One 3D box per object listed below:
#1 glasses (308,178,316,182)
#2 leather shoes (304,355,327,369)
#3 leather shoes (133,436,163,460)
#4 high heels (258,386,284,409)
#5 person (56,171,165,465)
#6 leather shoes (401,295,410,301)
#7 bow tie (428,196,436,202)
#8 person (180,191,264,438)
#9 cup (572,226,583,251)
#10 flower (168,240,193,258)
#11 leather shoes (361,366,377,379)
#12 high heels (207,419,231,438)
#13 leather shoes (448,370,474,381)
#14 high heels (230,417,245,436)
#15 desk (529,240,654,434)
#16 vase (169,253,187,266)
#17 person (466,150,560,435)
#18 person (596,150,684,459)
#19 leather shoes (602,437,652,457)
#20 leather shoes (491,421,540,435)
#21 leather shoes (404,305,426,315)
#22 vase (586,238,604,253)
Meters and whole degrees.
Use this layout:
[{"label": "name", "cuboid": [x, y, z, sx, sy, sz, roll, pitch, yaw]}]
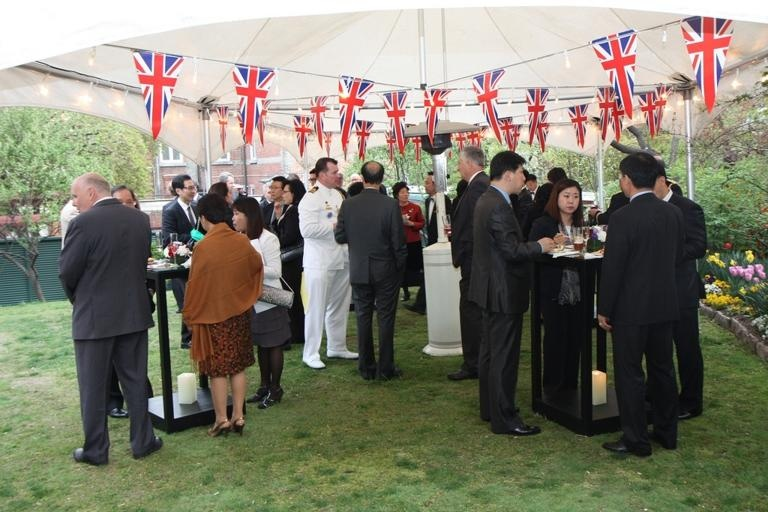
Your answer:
[{"label": "glasses", "cuboid": [-1.049, -1.150, 8.158, 0.114, 0.033, 0.108, 2, 0, -44]}, {"label": "leather shoes", "cuboid": [-0.868, 1.336, 6.888, 0.313, 0.124, 0.118, -2, 2, 44]}, {"label": "leather shoes", "cuboid": [-2.094, 1.734, 4.923, 0.094, 0.117, 0.262, 9, 18, 18]}, {"label": "high heels", "cuboid": [-1.189, 1.509, 5.856, 0.143, 0.125, 0.295, 1, 7, 39]}, {"label": "person", "cuboid": [-2.456, 0.554, 4.956, 0.766, 2.452, 0.706, -2, 4, -25]}, {"label": "leather shoes", "cuboid": [0.406, 0.795, 10.191, 0.198, 0.130, 0.068, 6, -4, 1]}, {"label": "bow tie", "cuboid": [0.859, -1.036, 9.707, 0.121, 0.061, 0.160, -1, 13, -1]}, {"label": "person", "cuboid": [-1.473, 0.559, 5.123, 0.742, 2.262, 0.361, -7, 13, -20]}, {"label": "cup", "cuboid": [1.732, -0.147, 4.894, 0.096, 0.207, 0.074, 2, 13, 22]}, {"label": "flower", "cuboid": [-1.971, -0.070, 5.306, 0.180, 0.099, 0.203, 1, 1, -14]}, {"label": "leather shoes", "cuboid": [-0.185, 1.373, 6.408, 0.231, 0.212, 0.125, 0, -2, -2]}, {"label": "high heels", "cuboid": [-1.543, 1.632, 5.191, 0.278, 0.142, 0.106, 0, -1, 37]}, {"label": "leather shoes", "cuboid": [0.889, 1.371, 6.338, 0.324, 0.122, 0.117, 3, -7, -3]}, {"label": "high heels", "cuboid": [-1.383, 1.620, 5.207, 0.076, 0.090, 0.219, -1, 6, -15]}, {"label": "desk", "cuboid": [1.594, 0.767, 5.574, 1.365, 1.535, 1.329, 0, -5, -31]}, {"label": "vase", "cuboid": [-1.968, 0.032, 5.243, 0.109, 0.076, 0.105, -2, 5, -20]}, {"label": "person", "cuboid": [1.111, 0.344, 5.022, 0.706, 2.566, 0.554, 6, 15, 35]}, {"label": "person", "cuboid": [2.202, 0.410, 4.636, 0.783, 2.524, 0.567, -9, 13, -27]}, {"label": "leather shoes", "cuboid": [2.060, 1.639, 4.661, 0.371, 0.164, 0.139, 3, -5, 29]}, {"label": "leather shoes", "cuboid": [1.225, 1.604, 5.118, 0.416, 0.168, 0.154, -4, -5, 5]}, {"label": "leather shoes", "cuboid": [0.528, 0.899, 9.349, 0.357, 0.149, 0.119, 19, 14, 25]}, {"label": "vase", "cuboid": [1.881, -0.092, 4.891, 0.115, 0.098, 0.114, -1, 4, -34]}]
